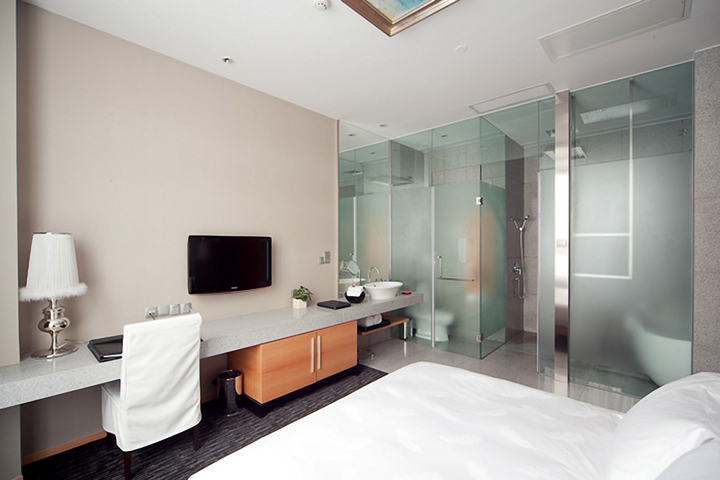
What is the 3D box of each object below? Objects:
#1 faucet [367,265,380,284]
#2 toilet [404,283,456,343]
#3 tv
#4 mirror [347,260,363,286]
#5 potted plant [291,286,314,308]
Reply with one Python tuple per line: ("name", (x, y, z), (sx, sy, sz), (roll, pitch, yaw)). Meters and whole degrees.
("faucet", (0.211, 0.485, 6.963), (0.070, 0.244, 0.279), (0, 4, 40))
("toilet", (1.002, 1.132, 6.874), (0.855, 0.899, 0.461), (-1, 2, 37))
("tv", (-1.485, 0.253, 5.252), (0.097, 0.467, 0.707), (2, 2, 45))
("mirror", (-0.075, 0.441, 6.680), (0.062, 0.350, 0.296), (-1, 3, 29))
("potted plant", (-0.699, 0.698, 5.864), (0.235, 0.199, 0.233), (0, 0, 21))
